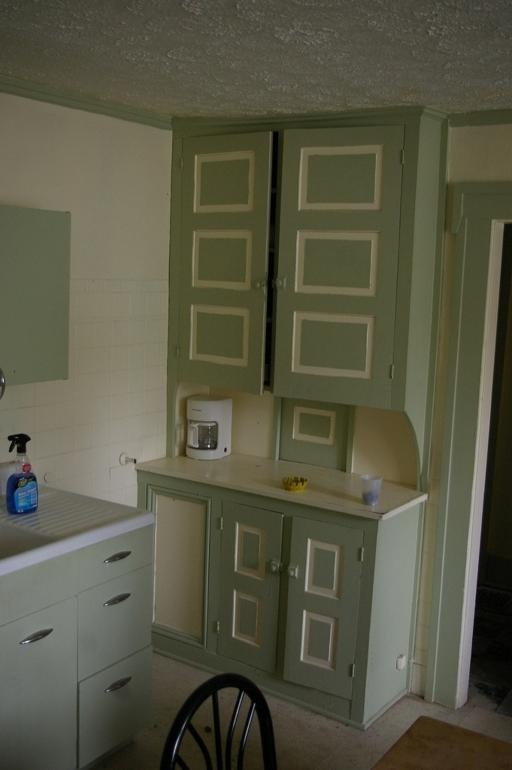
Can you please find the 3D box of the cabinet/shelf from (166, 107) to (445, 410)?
[{"bbox_3d":[0.218,-0.519,2.502,0.841,0.949,0.271,13,16,36],"label":"cabinet/shelf"}]

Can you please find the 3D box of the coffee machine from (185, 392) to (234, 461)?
[{"bbox_3d":[-0.210,0.189,2.984,0.219,0.379,0.243,2,0,43],"label":"coffee machine"}]

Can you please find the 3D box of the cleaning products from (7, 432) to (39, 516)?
[{"bbox_3d":[-0.731,0.273,2.026,0.112,0.237,0.113,3,3,32],"label":"cleaning products"}]

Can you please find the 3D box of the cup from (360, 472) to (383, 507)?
[{"bbox_3d":[0.416,0.384,2.370,0.077,0.111,0.090,1,-3,-7],"label":"cup"}]
